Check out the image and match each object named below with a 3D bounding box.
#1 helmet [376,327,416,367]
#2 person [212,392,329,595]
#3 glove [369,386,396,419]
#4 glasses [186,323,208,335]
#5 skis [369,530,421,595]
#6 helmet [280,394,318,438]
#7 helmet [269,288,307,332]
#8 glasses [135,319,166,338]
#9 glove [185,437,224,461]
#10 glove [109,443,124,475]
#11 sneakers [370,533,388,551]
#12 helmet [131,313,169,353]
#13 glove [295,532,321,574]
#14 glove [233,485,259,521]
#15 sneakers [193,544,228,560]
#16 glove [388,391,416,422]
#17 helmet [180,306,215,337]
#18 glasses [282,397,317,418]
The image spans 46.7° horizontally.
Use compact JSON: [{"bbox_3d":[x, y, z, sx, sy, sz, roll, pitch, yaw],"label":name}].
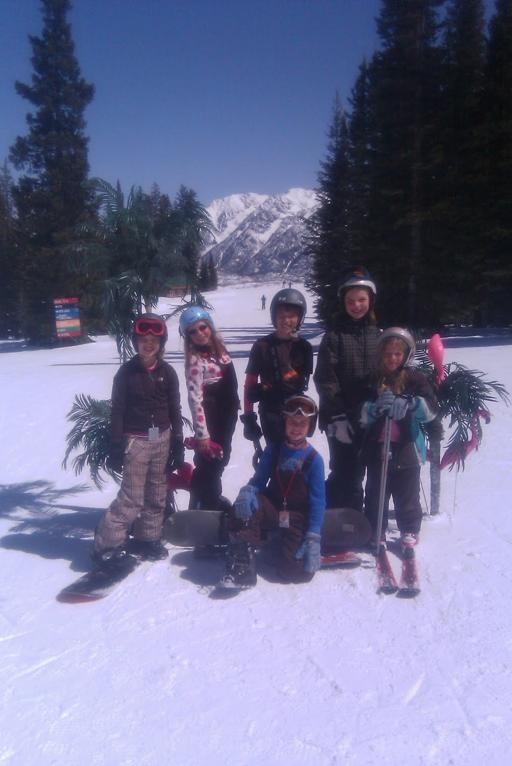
[{"bbox_3d":[0.892,-0.226,3.793,0.196,0.257,0.228,2,4,16],"label":"helmet"},{"bbox_3d":[0.113,0.645,3.569,0.602,1.075,0.564,-2,9,1],"label":"person"},{"bbox_3d":[0.774,0.132,3.640,0.065,0.186,0.136,23,-13,-8],"label":"glove"},{"bbox_3d":[-0.372,-0.342,3.836,0.075,0.047,0.101,-14,26,-9],"label":"glasses"},{"bbox_3d":[0.842,1.112,3.523,0.140,0.183,0.451,-3,-5,7],"label":"skis"},{"bbox_3d":[0.294,0.185,3.736,0.198,0.266,0.262,6,17,5],"label":"helmet"},{"bbox_3d":[0.219,-0.503,3.998,0.225,0.294,0.279,2,7,4],"label":"helmet"},{"bbox_3d":[-0.666,-0.348,3.793,0.234,0.126,0.136,-7,10,-31],"label":"glasses"},{"bbox_3d":[-0.327,0.461,3.833,0.201,0.049,0.147,24,-1,-10],"label":"glove"},{"bbox_3d":[-0.896,0.489,3.842,0.078,0.258,0.211,-4,9,-14],"label":"glove"},{"bbox_3d":[0.797,1.057,3.890,0.096,0.135,0.049,-3,-23,12],"label":"sneakers"},{"bbox_3d":[-0.684,-0.348,3.851,0.210,0.283,0.266,4,-1,-8],"label":"helmet"},{"bbox_3d":[0.317,1.002,3.491,0.064,0.224,0.162,13,-9,-18],"label":"glove"},{"bbox_3d":[-0.058,0.735,3.598,0.075,0.192,0.135,34,-27,-11],"label":"glove"},{"bbox_3d":[-0.304,1.126,3.920,0.179,0.044,0.100,4,41,2],"label":"sneakers"},{"bbox_3d":[0.888,0.153,3.618,0.149,0.153,0.064,3,18,-24],"label":"glove"},{"bbox_3d":[-0.397,-0.420,3.954,0.168,0.196,0.238,-20,-12,-8],"label":"helmet"},{"bbox_3d":[0.280,0.162,3.700,0.125,0.101,0.166,2,-17,5],"label":"glasses"}]
